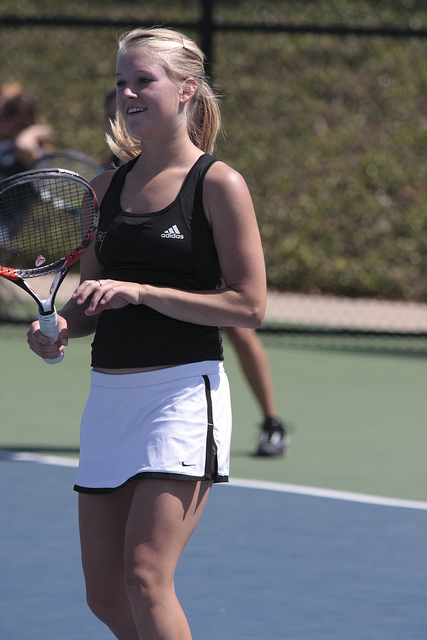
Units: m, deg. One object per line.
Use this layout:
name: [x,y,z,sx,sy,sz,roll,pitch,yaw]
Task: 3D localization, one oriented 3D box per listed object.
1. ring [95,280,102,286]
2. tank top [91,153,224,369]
ring: [-0.235,-0.077,1.457,0.004,0.013,0.014,-15,0,1]
tank top: [-0.102,-0.155,1.699,0.358,0.500,0.300,1,3,19]
